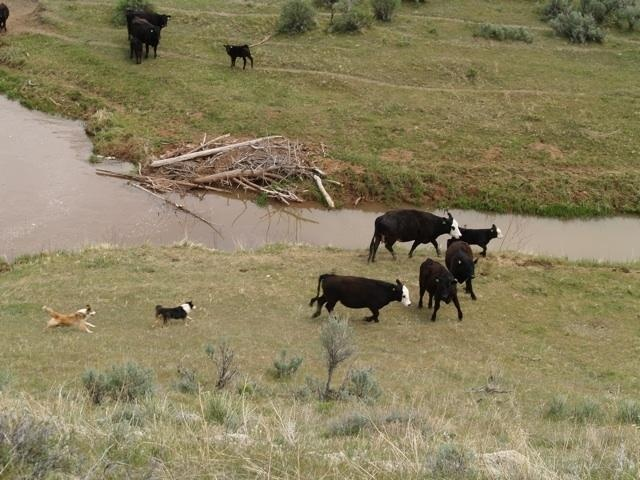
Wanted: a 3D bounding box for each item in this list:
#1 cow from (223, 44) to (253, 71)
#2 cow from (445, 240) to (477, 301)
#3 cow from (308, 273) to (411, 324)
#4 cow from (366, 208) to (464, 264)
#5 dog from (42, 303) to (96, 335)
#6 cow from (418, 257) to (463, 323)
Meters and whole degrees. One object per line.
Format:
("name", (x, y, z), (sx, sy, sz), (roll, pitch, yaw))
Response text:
("cow", (-5.022, -11.596, 72.336), (1.756, 1.486, 2.930), (3, 18, -4))
("cow", (6.288, 1.393, 51.812), (1.211, 2.472, 1.543), (2, 13, 4))
("cow", (1.670, 2.529, 50.376), (4.137, 2.265, 1.319), (3, 20, 7))
("cow", (4.435, -0.225, 54.348), (4.312, 2.360, 1.155), (-2, 15, -10))
("dog", (-10.467, 3.189, 48.934), (2.014, 0.940, 1.216), (3, 18, -4))
("cow", (5.068, 2.268, 50.529), (2.228, 2.247, 1.185), (19, 23, 40))
